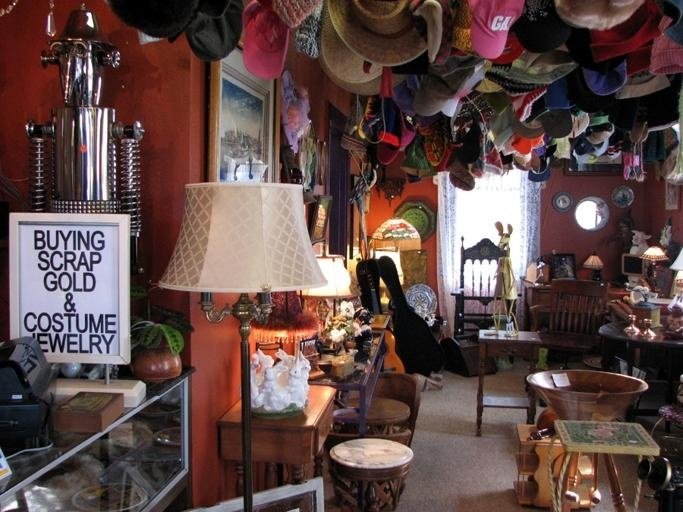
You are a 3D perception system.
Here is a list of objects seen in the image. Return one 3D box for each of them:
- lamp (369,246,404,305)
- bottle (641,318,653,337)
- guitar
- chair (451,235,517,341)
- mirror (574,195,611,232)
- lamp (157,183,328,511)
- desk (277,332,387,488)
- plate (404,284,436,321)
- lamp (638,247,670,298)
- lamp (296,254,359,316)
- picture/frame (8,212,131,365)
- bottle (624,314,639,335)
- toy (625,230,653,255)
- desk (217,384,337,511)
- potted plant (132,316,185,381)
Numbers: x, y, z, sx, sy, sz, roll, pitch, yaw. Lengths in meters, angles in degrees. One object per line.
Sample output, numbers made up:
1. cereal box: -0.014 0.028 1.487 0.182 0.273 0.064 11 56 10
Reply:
1. lamp: 0.507 0.158 6.143 0.240 0.733 0.278 5 -28 -27
2. bottle: 2.607 0.616 4.976 0.138 0.162 0.142 -2 -3 38
3. guitar: 0.424 0.661 5.621 0.464 1.001 0.229 -8 11 -25
4. chair: 1.499 0.380 6.391 0.786 1.176 2.848 -1 0 16
5. mirror: 3.199 -0.535 7.480 0.411 0.387 0.063 -1 0 1
6. lamp: -0.341 0.351 2.045 0.558 1.165 0.312 -1 0 18
7. desk: 0.027 0.779 3.980 0.404 0.629 1.182 2 11 15
8. plate: 0.911 0.538 6.772 0.320 0.382 0.397 -1 0 37
9. lamp: 3.508 0.144 6.526 0.273 0.452 0.561 -1 0 25
10. lamp: -0.081 0.150 3.613 0.267 0.299 0.282 0 -1 -7
11. picture/frame: -0.948 0.107 2.017 0.471 0.658 0.041 0 0 -3
12. bottle: 2.544 0.600 5.097 0.149 0.180 0.156 2 -1 -22
13. toy: 3.611 -0.143 7.075 0.244 0.406 0.329 4 0 13
14. desk: -0.301 0.768 2.849 0.371 0.680 0.691 1 3 5
15. potted plant: -0.723 0.348 2.299 0.205 0.217 0.214 0 1 -23
